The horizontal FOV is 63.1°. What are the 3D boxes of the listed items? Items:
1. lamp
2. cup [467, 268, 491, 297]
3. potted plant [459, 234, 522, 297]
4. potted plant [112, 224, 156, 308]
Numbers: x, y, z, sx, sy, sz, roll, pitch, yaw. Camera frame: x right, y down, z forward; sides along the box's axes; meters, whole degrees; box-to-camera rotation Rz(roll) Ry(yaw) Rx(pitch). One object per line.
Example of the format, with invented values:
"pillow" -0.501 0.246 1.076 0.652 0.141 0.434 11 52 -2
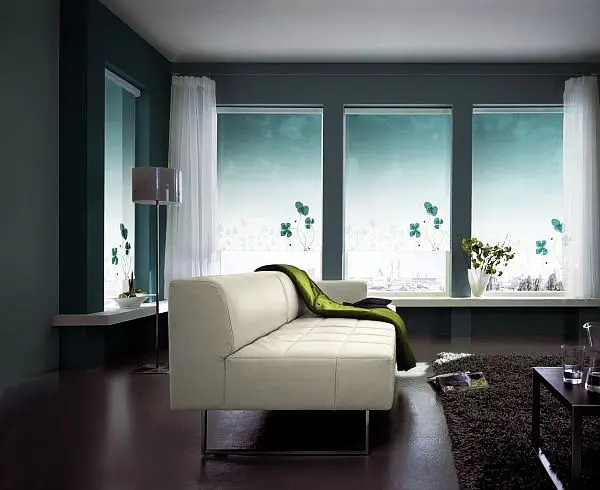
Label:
"lamp" -1.308 0.190 4.566 0.403 1.759 1.211 -1 2 -15
"cup" 2.003 0.423 5.530 0.267 0.314 0.288 2 -7 0
"potted plant" 2.141 0.214 5.529 0.611 0.854 0.694 5 -2 -6
"potted plant" -1.698 0.195 4.837 0.390 0.601 0.424 -4 11 -11
